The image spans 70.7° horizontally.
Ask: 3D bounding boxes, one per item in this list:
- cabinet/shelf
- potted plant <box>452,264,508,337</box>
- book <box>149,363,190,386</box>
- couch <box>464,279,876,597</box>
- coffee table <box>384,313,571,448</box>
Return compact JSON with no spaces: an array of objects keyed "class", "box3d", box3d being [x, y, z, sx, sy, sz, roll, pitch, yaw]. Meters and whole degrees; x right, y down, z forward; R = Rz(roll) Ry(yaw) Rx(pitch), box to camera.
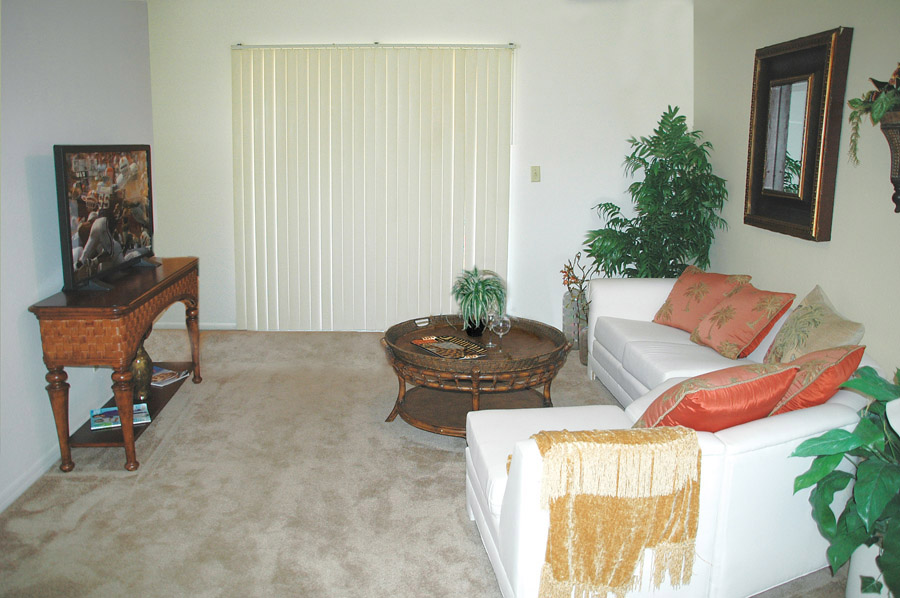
[{"class":"cabinet/shelf","box3d":[-2.255,0.372,4.543,0.566,1.097,1.551,1,16,-4]},{"class":"potted plant","box3d":[0.234,0.008,4.792,0.466,0.549,0.537,3,4,2]},{"class":"book","box3d":[-2.207,0.592,4.947,0.177,0.046,0.201,7,11,15]},{"class":"couch","box3d":[0.929,0.812,3.243,1.511,0.863,2.123,1,17,0]},{"class":"coffee table","box3d":[0.154,0.575,4.447,1.167,0.585,1.139,-6,13,-25]}]
